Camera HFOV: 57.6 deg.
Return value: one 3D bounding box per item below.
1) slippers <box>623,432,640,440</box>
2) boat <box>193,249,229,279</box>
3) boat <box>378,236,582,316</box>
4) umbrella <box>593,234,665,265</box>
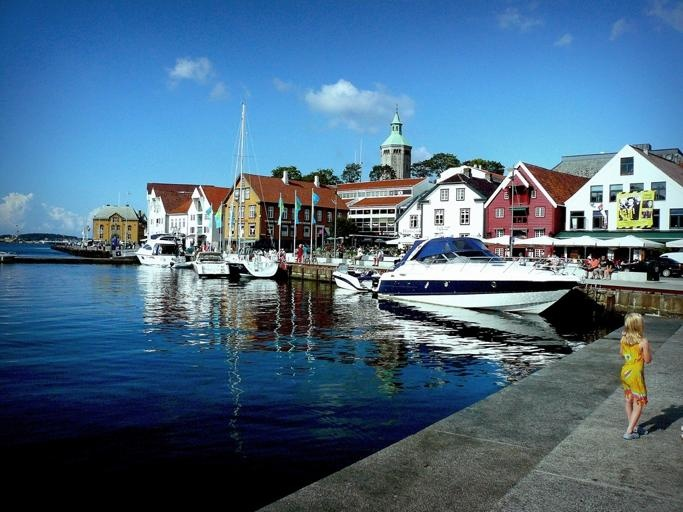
[{"bbox_3d":[4.603,2.861,9.865,0.264,0.110,0.094,-7,7,-14],"label":"slippers"},{"bbox_3d":[-11.325,0.781,54.105,2.452,1.899,5.255,0,0,-20],"label":"boat"},{"bbox_3d":[6.421,1.319,31.098,1.391,4.125,10.060,-13,19,-43],"label":"boat"},{"bbox_3d":[19.360,-0.147,41.026,2.564,2.313,4.931,-4,3,-43],"label":"umbrella"}]
